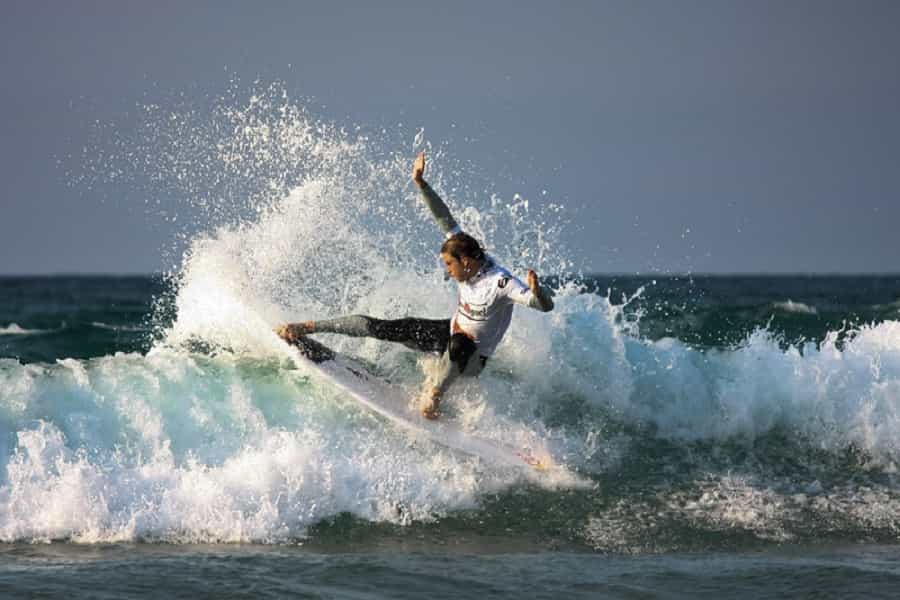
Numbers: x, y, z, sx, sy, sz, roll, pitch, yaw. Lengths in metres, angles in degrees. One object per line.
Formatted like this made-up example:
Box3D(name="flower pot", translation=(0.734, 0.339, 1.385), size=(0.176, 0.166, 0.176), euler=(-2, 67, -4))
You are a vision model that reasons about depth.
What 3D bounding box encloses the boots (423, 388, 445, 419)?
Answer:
Box3D(name="boots", translation=(-0.235, 1.336, 15.281), size=(0.198, 0.170, 0.480), euler=(-13, -41, -29))
